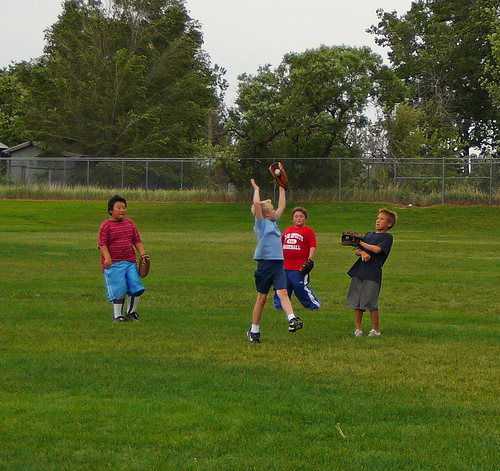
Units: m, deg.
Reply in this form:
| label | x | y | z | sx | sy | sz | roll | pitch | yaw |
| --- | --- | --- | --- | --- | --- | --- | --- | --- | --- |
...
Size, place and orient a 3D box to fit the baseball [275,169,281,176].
| label | x | y | z | sx | sy | sz | roll | pitch | yaw |
| --- | --- | --- | --- | --- | --- | --- | --- | --- | --- |
| baseball | 0.375 | -0.833 | 13.349 | 0.069 | 0.071 | 0.070 | 13 | 11 | -1 |

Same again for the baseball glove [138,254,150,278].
| label | x | y | z | sx | sy | sz | roll | pitch | yaw |
| --- | --- | --- | --- | --- | --- | --- | --- | --- | --- |
| baseball glove | -1.477 | 0.432 | 14.361 | 0.182 | 0.312 | 0.149 | 2 | 1 | 36 |

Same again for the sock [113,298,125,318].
| label | x | y | z | sx | sy | sz | roll | pitch | yaw |
| --- | --- | --- | --- | --- | --- | --- | --- | --- | --- |
| sock | -1.831 | 1.020 | 14.166 | 0.156 | 0.272 | 0.167 | 1 | 6 | -6 |

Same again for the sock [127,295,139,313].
| label | x | y | z | sx | sy | sz | roll | pitch | yaw |
| --- | --- | --- | --- | --- | --- | --- | --- | --- | --- |
| sock | -1.649 | 0.967 | 14.321 | 0.155 | 0.253 | 0.148 | 1 | 6 | -9 |

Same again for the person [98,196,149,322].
| label | x | y | z | sx | sy | sz | roll | pitch | yaw |
| --- | --- | --- | --- | --- | --- | --- | --- | --- | --- |
| person | -1.764 | 0.331 | 14.179 | 0.713 | 1.736 | 0.444 | -1 | 6 | -18 |

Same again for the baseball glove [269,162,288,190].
| label | x | y | z | sx | sy | sz | roll | pitch | yaw |
| --- | --- | --- | --- | --- | --- | --- | --- | --- | --- |
| baseball glove | 0.387 | -0.799 | 13.487 | 0.216 | 0.404 | 0.146 | -22 | 0 | 14 |

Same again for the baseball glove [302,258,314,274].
| label | x | y | z | sx | sy | sz | roll | pitch | yaw |
| --- | --- | --- | --- | --- | --- | --- | --- | --- | --- |
| baseball glove | 0.831 | 0.456 | 14.435 | 0.143 | 0.185 | 0.198 | 12 | -8 | 5 |

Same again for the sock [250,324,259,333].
| label | x | y | z | sx | sy | sz | roll | pitch | yaw |
| --- | --- | --- | --- | --- | --- | --- | --- | --- | --- |
| sock | 0.071 | 1.205 | 13.038 | 0.114 | 0.111 | 0.098 | 0 | 7 | -15 |

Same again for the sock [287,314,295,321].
| label | x | y | z | sx | sy | sz | roll | pitch | yaw |
| --- | --- | --- | --- | --- | --- | --- | --- | --- | --- |
| sock | 0.539 | 1.076 | 13.112 | 0.073 | 0.075 | 0.074 | 0 | -13 | -3 |

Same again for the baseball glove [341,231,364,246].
| label | x | y | z | sx | sy | sz | roll | pitch | yaw |
| --- | --- | --- | --- | --- | --- | --- | --- | --- | --- |
| baseball glove | 1.371 | 0.052 | 13.350 | 0.172 | 0.128 | 0.248 | 7 | -3 | 32 |
